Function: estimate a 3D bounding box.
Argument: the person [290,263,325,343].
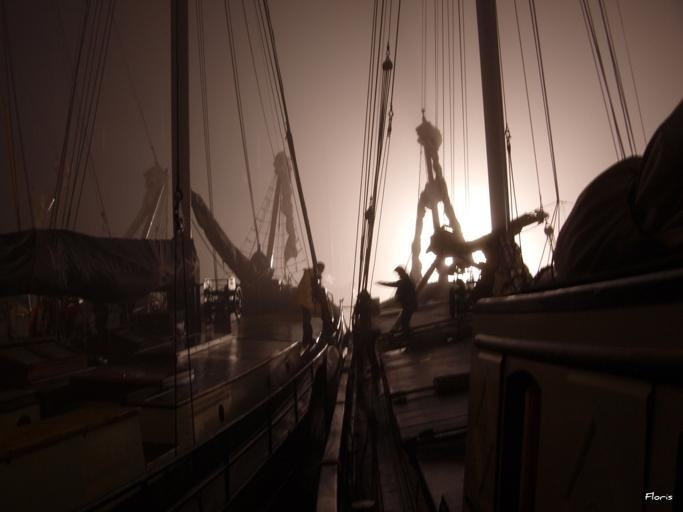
[{"bbox_3d":[-0.684,1.032,11.133,0.413,2.002,0.505,11,15,27],"label":"person"}]
